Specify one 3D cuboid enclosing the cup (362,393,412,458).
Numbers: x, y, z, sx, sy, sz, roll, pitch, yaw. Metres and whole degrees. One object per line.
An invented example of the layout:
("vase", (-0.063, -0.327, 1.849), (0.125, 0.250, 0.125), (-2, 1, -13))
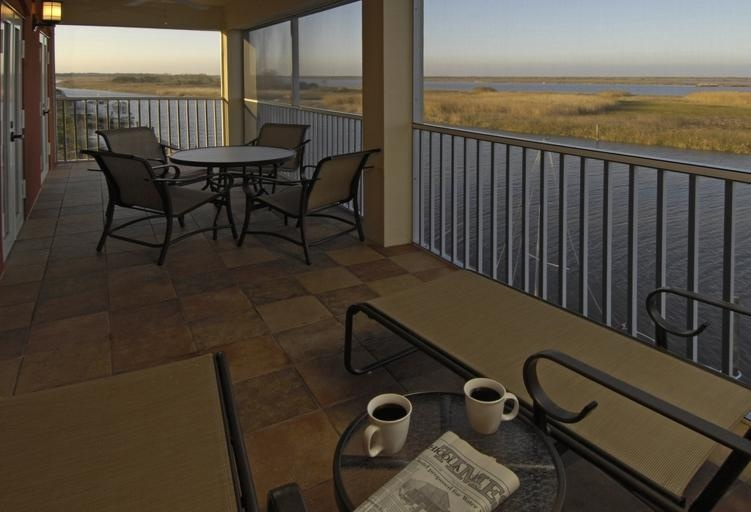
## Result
("cup", (0.045, 0.506, 1.440), (0.126, 0.125, 0.188), (10, 27, 24))
